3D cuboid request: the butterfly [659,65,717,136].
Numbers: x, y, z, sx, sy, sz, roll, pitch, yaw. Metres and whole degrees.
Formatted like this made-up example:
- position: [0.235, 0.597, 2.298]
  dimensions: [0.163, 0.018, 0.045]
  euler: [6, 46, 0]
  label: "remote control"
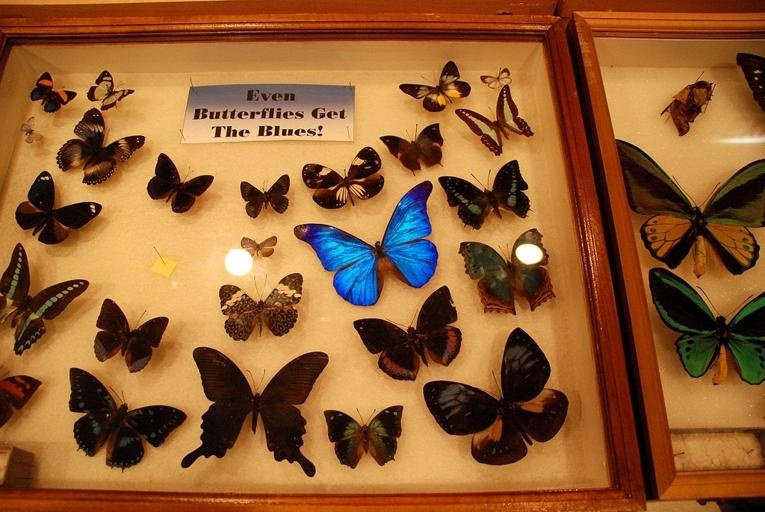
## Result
- position: [1.296, -0.648, 2.549]
  dimensions: [0.187, 0.256, 0.087]
  euler: [45, -6, 13]
  label: "butterfly"
